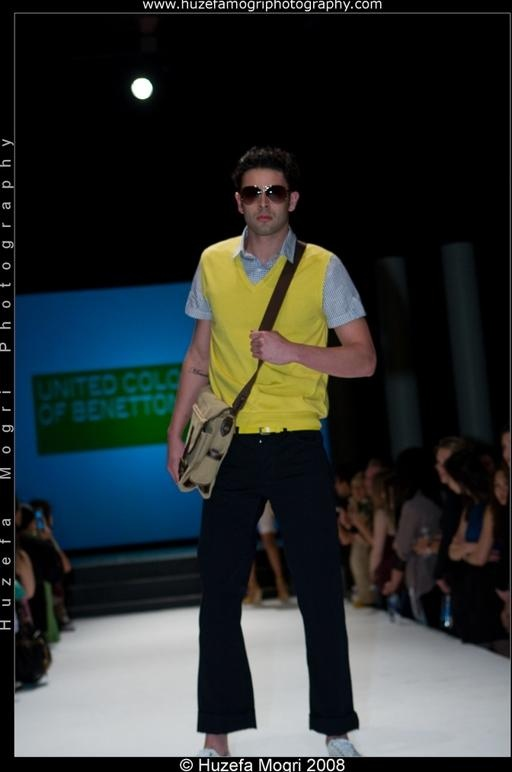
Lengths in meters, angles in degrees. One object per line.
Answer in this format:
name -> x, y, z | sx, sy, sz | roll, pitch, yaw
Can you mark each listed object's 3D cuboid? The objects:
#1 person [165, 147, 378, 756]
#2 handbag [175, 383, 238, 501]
person -> 0.042, 0.190, 2.035 | 0.437, 1.809, 0.591 | 0, -5, -43
handbag -> -0.139, 0.161, 1.977 | 0.117, 0.302, 0.236 | 13, 23, -13
